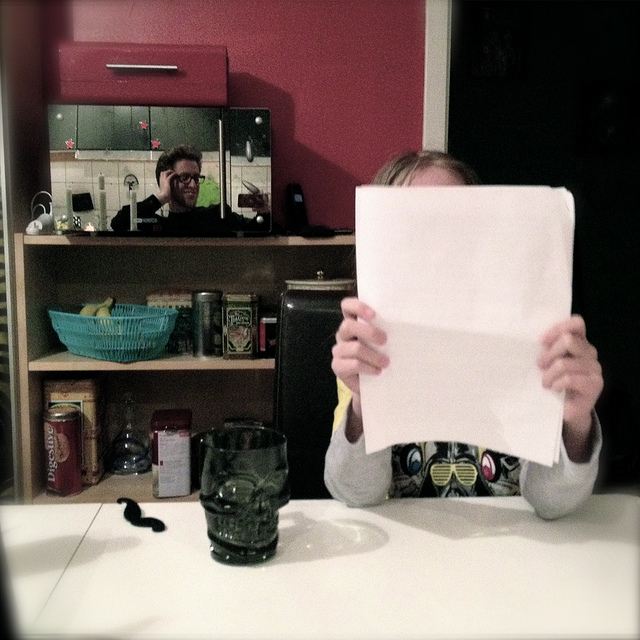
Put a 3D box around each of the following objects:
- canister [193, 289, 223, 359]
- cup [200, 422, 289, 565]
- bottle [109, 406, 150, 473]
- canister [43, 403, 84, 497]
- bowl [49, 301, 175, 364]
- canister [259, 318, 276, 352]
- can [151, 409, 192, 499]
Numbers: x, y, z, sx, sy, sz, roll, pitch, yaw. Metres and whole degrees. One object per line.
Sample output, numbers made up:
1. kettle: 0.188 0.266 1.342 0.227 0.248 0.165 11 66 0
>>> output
1. canister: -0.331 0.007 2.025 0.096 0.195 0.103 0 4 0
2. cup: -0.083 0.183 0.770 0.115 0.177 0.118 -1 -4 0
3. bottle: -0.581 0.355 2.104 0.120 0.249 0.130 -4 -19 -1
4. canister: -0.705 0.349 1.892 0.094 0.238 0.106 -2 10 -26
5. bowl: -0.572 0.034 1.904 0.239 0.106 0.193 8 7 10
6. canister: -0.150 0.043 1.967 0.045 0.096 0.028 -3 11 -15
7. can: -0.412 0.371 1.908 0.106 0.206 0.144 -2 12 -13
